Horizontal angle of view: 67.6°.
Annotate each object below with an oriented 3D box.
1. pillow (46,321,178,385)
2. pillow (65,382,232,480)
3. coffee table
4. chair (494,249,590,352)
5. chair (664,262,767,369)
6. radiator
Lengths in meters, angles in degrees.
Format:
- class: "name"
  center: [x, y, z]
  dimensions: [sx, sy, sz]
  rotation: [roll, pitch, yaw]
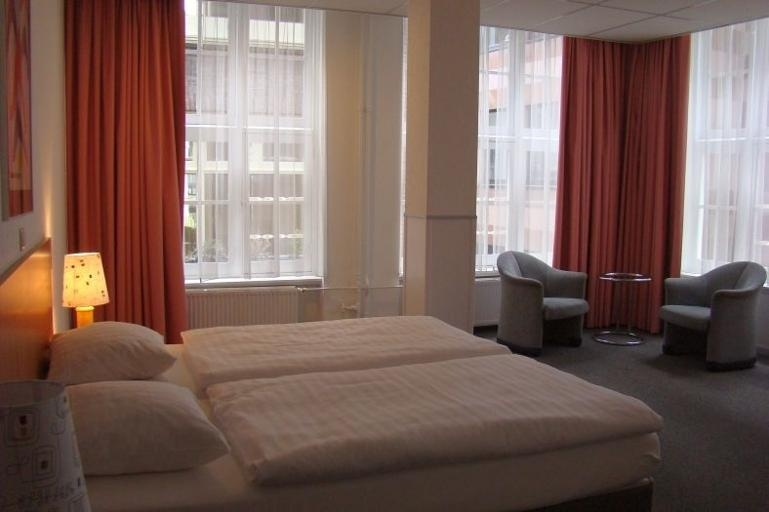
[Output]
- class: "pillow"
  center: [-1.595, 0.573, 3.330]
  dimensions: [0.432, 0.154, 0.445]
  rotation: [-2, 11, -18]
- class: "pillow"
  center: [-1.132, 0.801, 2.762]
  dimensions: [0.771, 0.287, 0.448]
  rotation: [1, 11, -12]
- class: "coffee table"
  center: [2.890, 0.598, 6.843]
  dimensions: [0.774, 0.904, 0.794]
  rotation: [-1, 7, -2]
- class: "chair"
  center: [1.662, 0.431, 6.256]
  dimensions: [1.034, 1.166, 1.058]
  rotation: [-1, 1, -34]
- class: "chair"
  center: [3.378, 0.519, 6.142]
  dimensions: [1.076, 1.204, 1.014]
  rotation: [-1, 3, -19]
- class: "radiator"
  center: [-1.456, 0.578, 5.927]
  dimensions: [1.178, 0.107, 0.550]
  rotation: [-1, 38, -15]
